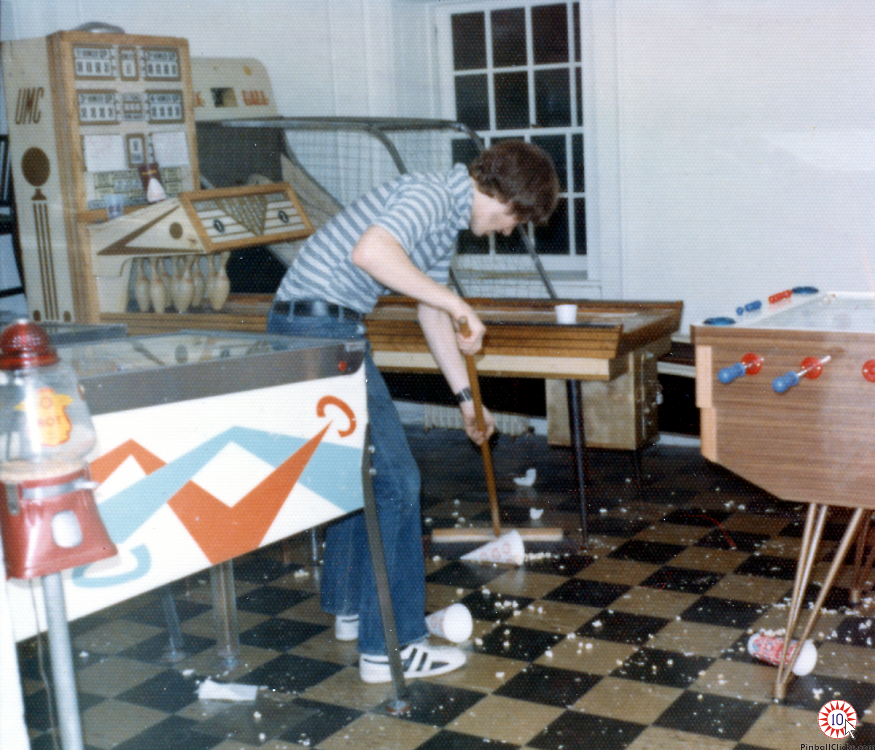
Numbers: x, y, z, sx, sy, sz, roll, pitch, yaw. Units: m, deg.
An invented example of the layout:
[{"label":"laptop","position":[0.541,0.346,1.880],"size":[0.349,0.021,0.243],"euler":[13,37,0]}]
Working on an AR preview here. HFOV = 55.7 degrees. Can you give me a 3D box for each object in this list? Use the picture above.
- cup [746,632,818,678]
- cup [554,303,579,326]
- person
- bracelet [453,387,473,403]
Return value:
[{"label":"cup","position":[0.943,0.758,2.309],"size":[0.105,0.083,0.202],"euler":[35,-16,-38]},{"label":"cup","position":[0.517,-0.238,3.277],"size":[0.103,0.070,0.089],"euler":[0,9,8]},{"label":"person","position":[-0.074,0.111,2.414],"size":[0.732,1.508,0.515],"euler":[-10,11,-28]},{"label":"bracelet","position":[0.078,0.067,2.692],"size":[0.054,0.033,0.056],"euler":[-10,2,44]}]
